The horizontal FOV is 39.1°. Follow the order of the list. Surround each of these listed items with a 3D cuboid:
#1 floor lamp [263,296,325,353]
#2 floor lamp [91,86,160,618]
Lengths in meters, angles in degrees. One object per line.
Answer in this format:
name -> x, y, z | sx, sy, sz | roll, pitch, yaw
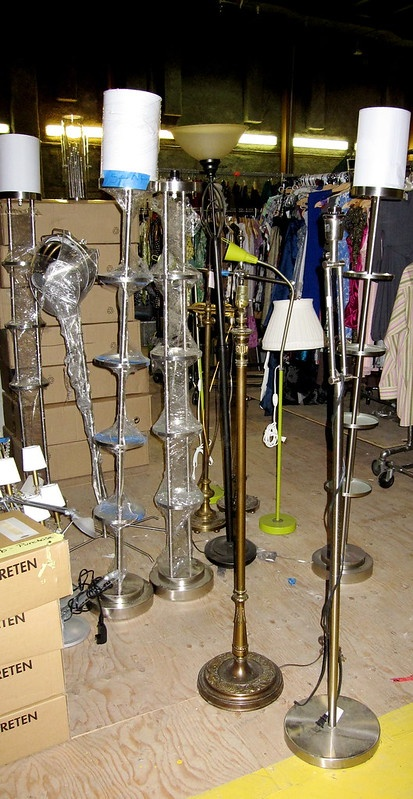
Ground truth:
floor lamp -> 0.340, -0.287, 2.295 | 0.201, 0.146, 0.197 | -17, 16, -41
floor lamp -> -0.276, -0.081, 2.010 | 0.257, 1.769, 0.382 | -2, 11, -12
